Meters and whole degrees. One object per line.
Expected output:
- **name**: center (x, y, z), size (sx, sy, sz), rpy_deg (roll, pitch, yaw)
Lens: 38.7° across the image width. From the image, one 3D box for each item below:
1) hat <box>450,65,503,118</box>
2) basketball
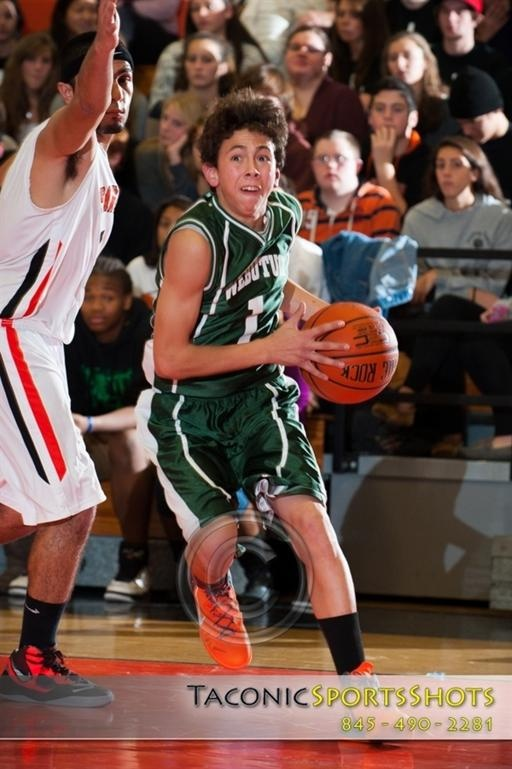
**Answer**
- **hat**: center (0.780, -1.027, 2.563), size (0.144, 0.145, 0.157), rpy_deg (-39, 14, -28)
- **basketball**: center (0.181, -0.066, 1.634), size (0.234, 0.239, 0.219), rpy_deg (-2, 1, 0)
